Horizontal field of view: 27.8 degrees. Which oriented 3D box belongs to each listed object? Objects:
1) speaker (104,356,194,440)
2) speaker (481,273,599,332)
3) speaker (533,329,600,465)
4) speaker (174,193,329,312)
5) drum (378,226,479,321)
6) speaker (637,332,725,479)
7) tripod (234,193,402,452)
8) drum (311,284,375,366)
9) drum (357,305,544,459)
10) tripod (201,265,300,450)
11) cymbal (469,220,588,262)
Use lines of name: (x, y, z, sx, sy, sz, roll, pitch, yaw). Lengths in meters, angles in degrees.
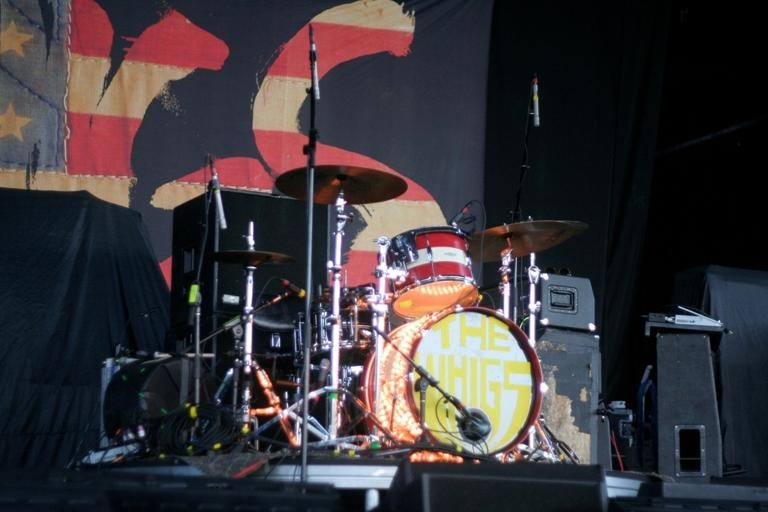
speaker: (-2.484, 1.411, 16.207, 0.770, 0.876, 0.812, -2, 2, -33)
speaker: (1.661, 0.476, 16.706, 0.803, 0.640, 1.043, 0, 1, -16)
speaker: (1.908, 1.492, 16.424, 0.663, 1.368, 0.672, -2, 4, 3)
speaker: (-1.550, 0.116, 17.481, 1.506, 1.337, 1.060, -1, -2, -10)
drum: (0.493, 0.142, 16.296, 0.838, 1.014, 1.014, 0, 2, -7)
speaker: (3.190, 1.553, 16.406, 0.842, 1.418, 0.929, 0, 6, 21)
tripod: (-0.575, 0.615, 15.392, 1.007, 2.465, 1.041, -3, 3, -30)
drum: (-0.367, 0.738, 16.467, 0.593, 0.602, 0.639, 3, -8, -18)
drum: (0.586, 1.253, 16.250, 1.747, 1.468, 1.910, 0, 0, 0)
tripod: (-2.021, 1.084, 16.406, 1.641, 2.128, 1.628, 1, -11, -13)
cymbal: (1.492, -0.175, 16.317, 1.171, 0.330, 0.773, 0, -14, 3)
